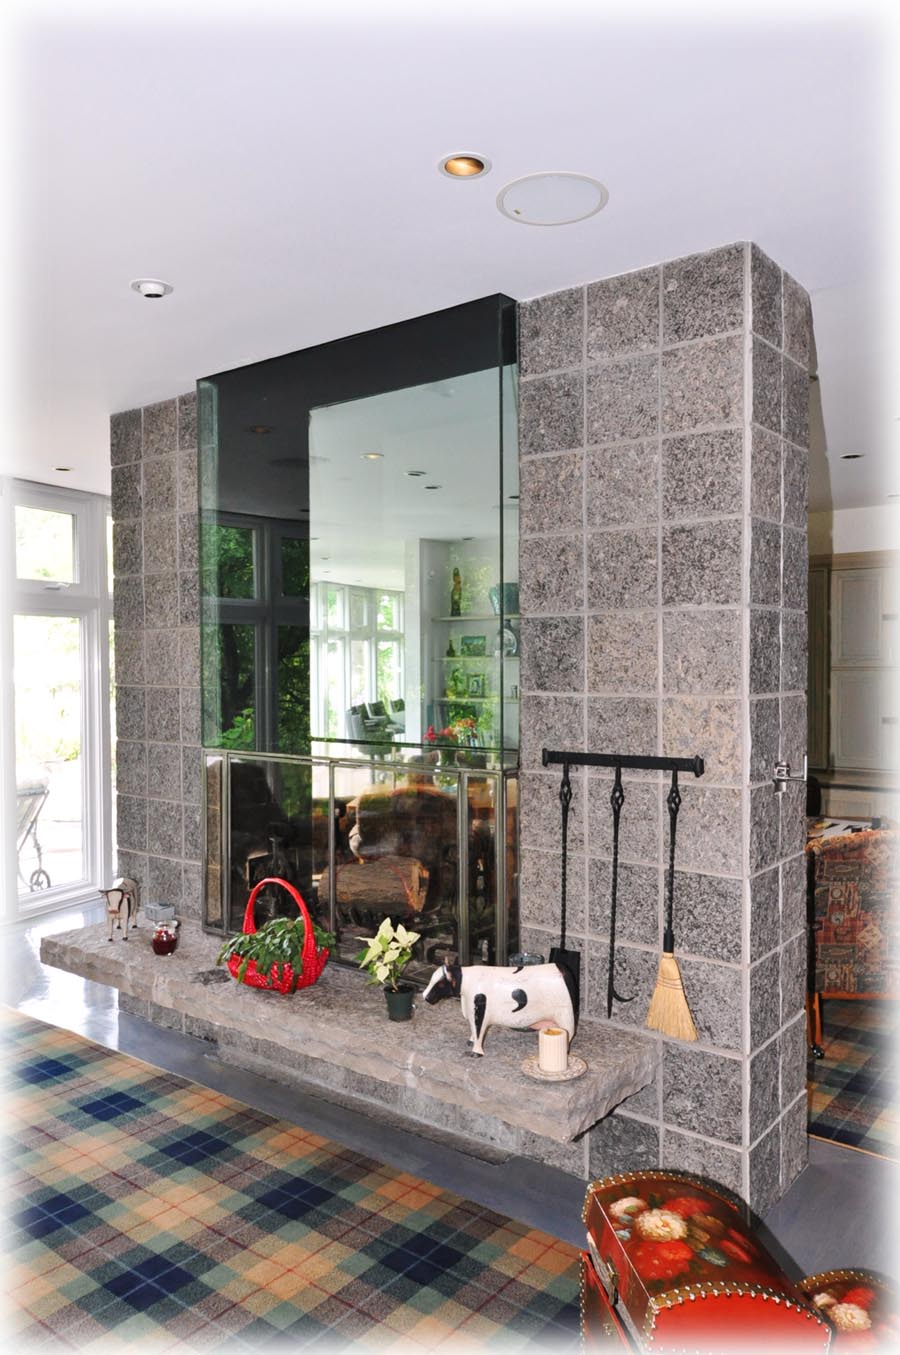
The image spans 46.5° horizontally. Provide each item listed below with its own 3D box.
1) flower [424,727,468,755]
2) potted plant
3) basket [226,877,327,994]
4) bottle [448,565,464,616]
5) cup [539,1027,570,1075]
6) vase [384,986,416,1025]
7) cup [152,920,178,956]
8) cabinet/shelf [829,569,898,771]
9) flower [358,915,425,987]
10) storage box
[{"bbox_3d":[-0.016,0.172,2.769,0.070,0.071,0.075,1,3,-6],"label":"flower"},{"bbox_3d":[-0.471,0.746,2.983,0.290,0.294,0.307,2,-5,-42],"label":"potted plant"},{"bbox_3d":[-0.483,0.729,2.982,0.233,0.324,0.328,1,-4,-40],"label":"basket"},{"bbox_3d":[0.018,-0.218,2.728,0.040,0.125,0.009,0,0,35],"label":"bottle"},{"bbox_3d":[0.221,0.801,2.228,0.057,0.073,0.080,0,-5,2],"label":"cup"},{"bbox_3d":[-0.122,0.822,2.613,0.069,0.056,0.064,-1,2,15],"label":"vase"},{"bbox_3d":[-0.860,0.809,3.244,0.087,0.116,0.087,-1,2,0],"label":"cup"},{"bbox_3d":[2.408,-0.059,6.105,0.397,0.975,0.109,0,0,42],"label":"cabinet/shelf"},{"bbox_3d":[-0.155,0.745,2.787,0.152,0.209,0.282,0,0,-2],"label":"flower"},{"bbox_3d":[0.395,0.818,1.455,0.297,0.201,0.298,4,-6,-19],"label":"storage box"}]
